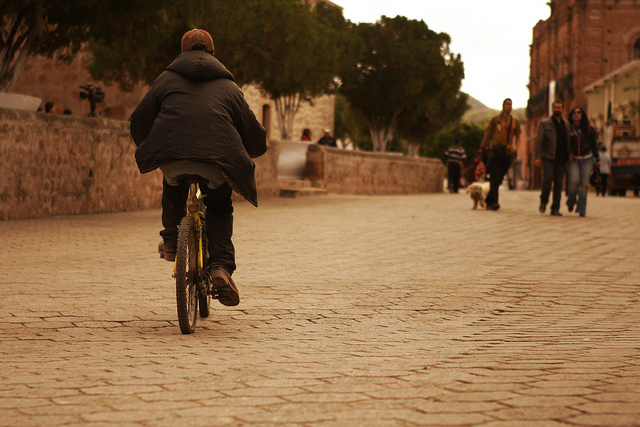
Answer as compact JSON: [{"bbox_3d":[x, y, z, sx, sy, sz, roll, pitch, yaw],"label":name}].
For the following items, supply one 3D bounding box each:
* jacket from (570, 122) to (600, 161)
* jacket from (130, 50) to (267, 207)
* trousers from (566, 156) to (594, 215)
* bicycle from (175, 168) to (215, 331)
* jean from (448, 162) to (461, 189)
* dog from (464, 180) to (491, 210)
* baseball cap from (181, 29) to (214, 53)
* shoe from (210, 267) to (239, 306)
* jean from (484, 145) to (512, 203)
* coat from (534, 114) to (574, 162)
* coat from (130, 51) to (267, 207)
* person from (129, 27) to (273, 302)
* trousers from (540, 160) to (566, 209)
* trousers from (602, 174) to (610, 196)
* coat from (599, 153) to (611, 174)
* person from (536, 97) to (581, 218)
[{"bbox_3d":[4.950,-1.322,17.446,0.546,0.655,0.403,3,11,11],"label":"jacket"},{"bbox_3d":[-1.214,-0.849,9.372,1.347,1.497,0.712,0,11,-4],"label":"jacket"},{"bbox_3d":[4.890,-0.548,17.608,0.474,1.067,0.672,4,11,16],"label":"trousers"},{"bbox_3d":[-1.247,0.348,9.371,0.372,1.588,0.874,-1,11,-7],"label":"bicycle"},{"bbox_3d":[4.598,-1.263,31.754,0.400,1.008,0.918,2,11,8],"label":"jean"},{"bbox_3d":[3.383,-0.380,19.744,0.385,0.513,1.233,-3,4,20],"label":"dog"},{"bbox_3d":[-1.268,-1.775,9.697,0.315,0.232,0.273,-1,10,-6],"label":"baseball cap"},{"bbox_3d":[-0.940,0.722,9.546,0.211,0.450,0.206,-17,41,10],"label":"shoe"},{"bbox_3d":[3.581,-0.765,18.691,0.432,1.248,0.698,2,11,9],"label":"jean"},{"bbox_3d":[4.340,-1.371,17.470,0.967,0.847,0.510,2,-2,-34],"label":"coat"},{"bbox_3d":[-1.228,-0.934,9.785,1.474,1.653,1.209,7,-12,-13],"label":"coat"},{"bbox_3d":[-1.195,-0.459,9.510,1.307,2.716,0.828,0,11,-4],"label":"person"},{"bbox_3d":[4.392,-0.535,17.548,0.421,0.958,0.611,3,11,13],"label":"trousers"},{"bbox_3d":[9.195,-0.924,30.078,0.167,0.713,1.273,4,11,17],"label":"trousers"},{"bbox_3d":[9.008,-1.520,29.372,0.337,0.648,0.476,4,11,16],"label":"coat"},{"bbox_3d":[4.385,-0.999,17.459,0.855,2.152,0.595,-7,13,-32],"label":"person"}]
